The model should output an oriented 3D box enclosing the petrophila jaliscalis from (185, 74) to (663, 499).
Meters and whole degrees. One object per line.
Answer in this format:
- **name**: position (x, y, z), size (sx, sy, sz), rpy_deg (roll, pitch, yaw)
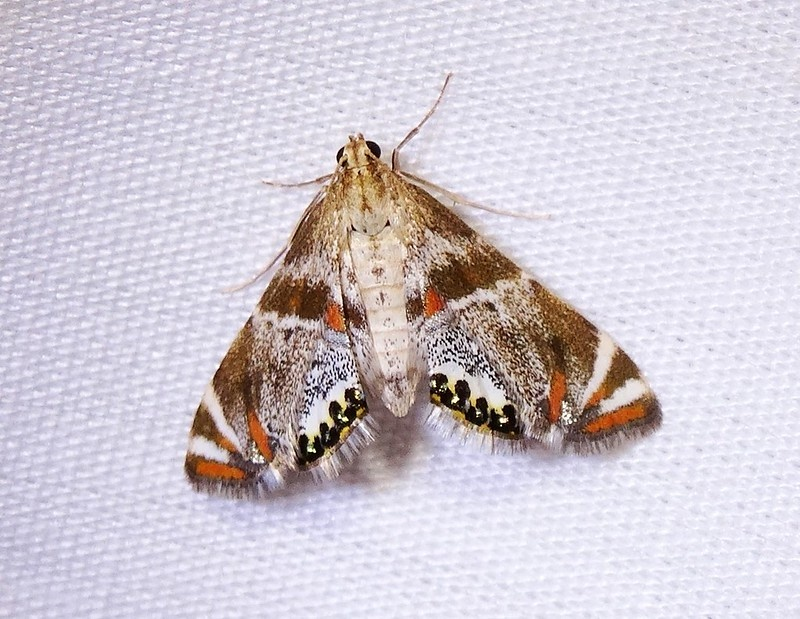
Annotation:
- **petrophila jaliscalis**: position (-0.058, -0.071, 3.492), size (1.329, 0.303, 1.013), rpy_deg (-12, 97, 11)
